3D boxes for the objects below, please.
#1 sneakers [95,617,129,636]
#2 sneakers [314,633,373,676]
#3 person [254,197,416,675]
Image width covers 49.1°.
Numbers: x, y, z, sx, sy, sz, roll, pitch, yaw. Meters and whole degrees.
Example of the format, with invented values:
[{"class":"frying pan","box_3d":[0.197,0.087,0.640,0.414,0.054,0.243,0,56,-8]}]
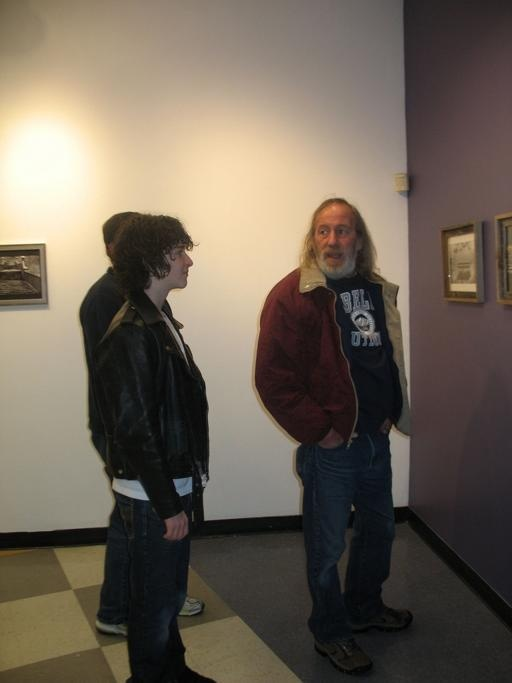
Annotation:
[{"class":"sneakers","box_3d":[-0.544,1.077,2.144,0.148,0.068,0.053,10,10,-19]},{"class":"sneakers","box_3d":[0.302,1.057,1.923,0.083,0.071,0.158,-3,1,-42]},{"class":"person","box_3d":[0.295,0.295,2.013,0.607,1.622,0.360,-4,3,-38]}]
